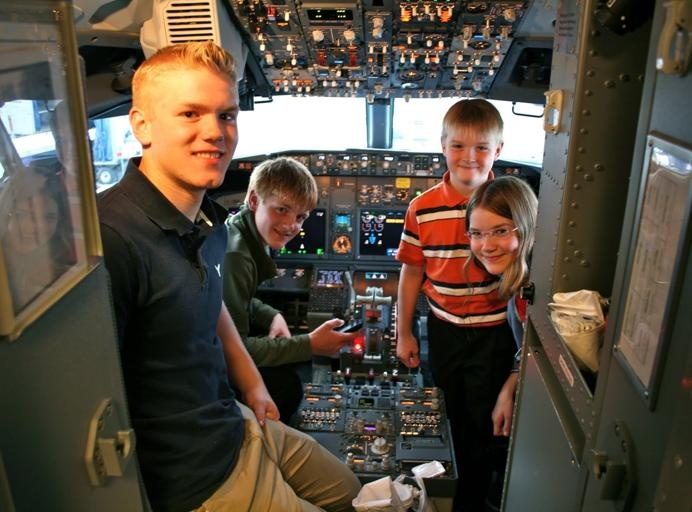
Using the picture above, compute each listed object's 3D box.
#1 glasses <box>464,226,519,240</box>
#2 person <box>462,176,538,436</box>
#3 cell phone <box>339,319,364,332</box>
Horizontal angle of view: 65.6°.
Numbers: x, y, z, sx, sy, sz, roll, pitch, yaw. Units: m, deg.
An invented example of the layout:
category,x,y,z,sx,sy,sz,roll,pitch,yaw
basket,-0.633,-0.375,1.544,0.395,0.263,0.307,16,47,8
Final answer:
category,x,y,z,sx,sy,sz,roll,pitch,yaw
glasses,0.641,-0.097,2.392,0.214,0.064,0.062,2,5,33
person,0.716,0.275,2.461,0.300,1.274,0.457,-1,5,-6
cell phone,0.030,0.426,3.274,0.125,0.033,0.128,-24,-4,-2
